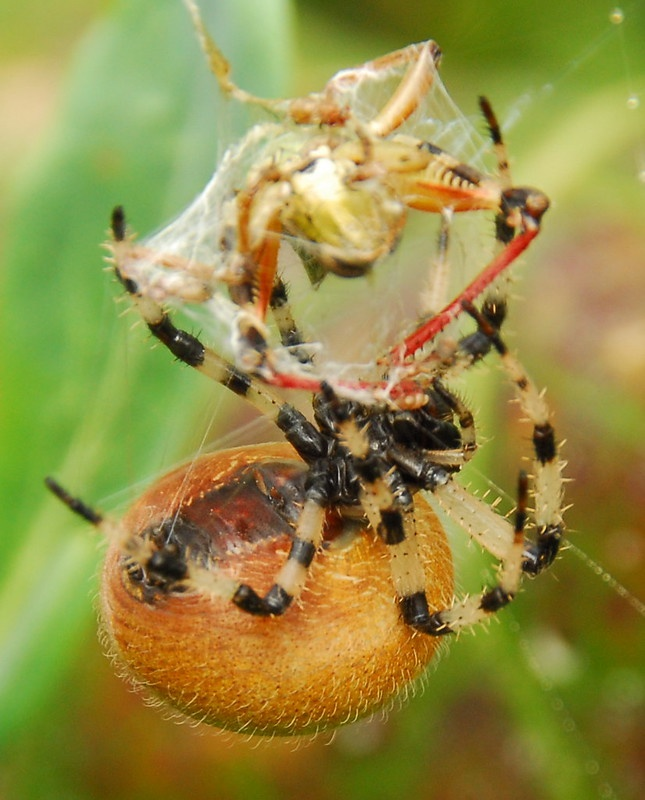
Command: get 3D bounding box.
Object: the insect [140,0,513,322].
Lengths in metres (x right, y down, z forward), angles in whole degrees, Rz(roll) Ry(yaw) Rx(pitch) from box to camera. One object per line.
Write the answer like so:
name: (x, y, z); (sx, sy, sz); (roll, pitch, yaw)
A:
insect: (-0.010, -0.256, 0.952); (0.441, 0.359, 0.182); (-15, -5, -6)
